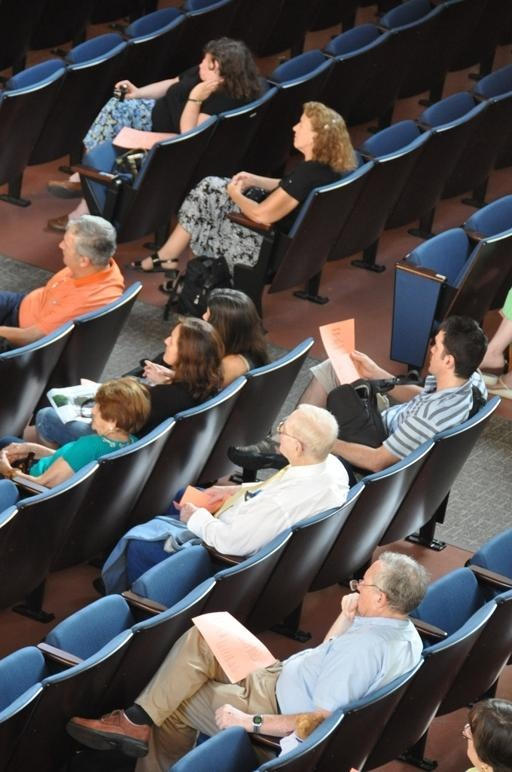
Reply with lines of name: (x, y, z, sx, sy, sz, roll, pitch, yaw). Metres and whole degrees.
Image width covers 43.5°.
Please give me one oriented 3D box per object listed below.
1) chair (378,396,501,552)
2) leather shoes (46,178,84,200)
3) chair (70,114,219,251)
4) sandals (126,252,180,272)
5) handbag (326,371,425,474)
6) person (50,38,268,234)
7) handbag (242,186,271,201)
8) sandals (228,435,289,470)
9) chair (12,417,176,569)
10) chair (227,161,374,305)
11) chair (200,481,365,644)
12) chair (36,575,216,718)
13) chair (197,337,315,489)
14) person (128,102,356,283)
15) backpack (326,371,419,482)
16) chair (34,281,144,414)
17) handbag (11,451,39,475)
chair: (0.796, 0.403, 2.839, 0.485, 0.548, 0.420, 25, 49, 35)
leather shoes: (-1.552, -1.589, 5.201, 0.319, 0.120, 0.116, 5, 39, -32)
chair: (-0.727, -1.553, 4.766, 0.873, 1.139, 0.909, -32, 54, -33)
sandals: (-0.750, -0.899, 4.667, 0.368, 0.132, 0.139, 4, 17, 5)
handbag: (0.514, 0.172, 2.858, 0.272, 0.402, 0.410, -26, 19, -2)
person: (-0.873, -2.025, 5.051, 1.444, 1.618, 0.812, 12, 53, -16)
handbag: (0.007, -1.306, 4.333, 0.165, 0.037, 0.164, 32, 49, 22)
sandals: (0.050, 0.303, 2.918, 0.323, 0.207, 0.102, 5, 9, 5)
chair: (-0.549, 0.382, 2.232, 0.392, 0.448, 0.353, 26, 50, 24)
chair: (0.282, -1.015, 4.262, 0.817, 1.027, 0.818, 31, 52, 34)
chair: (0.078, 0.555, 2.057, 0.375, 0.506, 0.440, -32, 47, -34)
chair: (-0.255, 0.624, 1.546, 0.306, 0.347, 0.305, 25, 41, 28)
chair: (-0.025, 0.127, 2.754, 0.493, 0.568, 0.426, 26, 48, 27)
person: (-0.143, -1.316, 4.379, 1.256, 1.333, 0.690, 24, 43, 6)
backpack: (0.648, 0.128, 3.000, 0.492, 0.443, 0.310, -10, -3, 21)
chair: (-0.820, -0.189, 3.050, 0.496, 0.557, 0.414, 26, 47, 12)
handbag: (-0.917, 0.317, 2.571, 0.096, 0.037, 0.067, -42, 56, -11)
